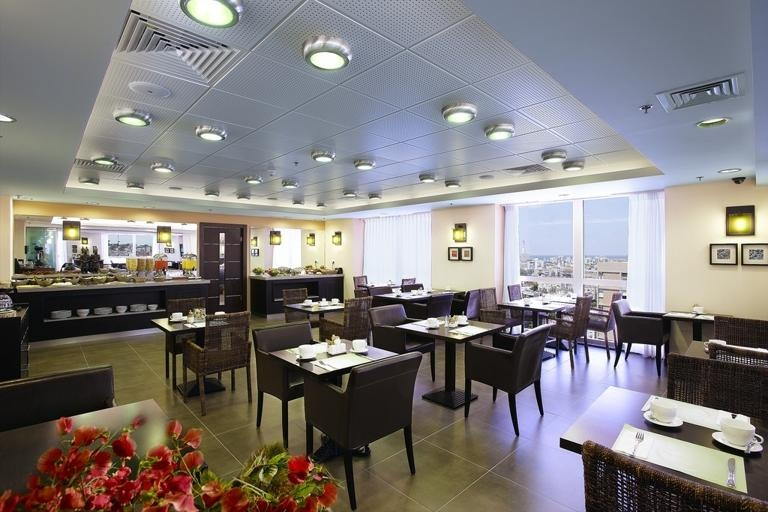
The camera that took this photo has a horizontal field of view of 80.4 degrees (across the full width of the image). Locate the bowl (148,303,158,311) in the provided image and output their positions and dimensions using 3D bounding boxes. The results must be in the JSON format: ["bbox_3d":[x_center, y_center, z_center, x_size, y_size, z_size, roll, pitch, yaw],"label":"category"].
[{"bbox_3d":[-4.574,1.000,8.950,0.138,0.091,0.134,1,-2,0],"label":"bowl"}]

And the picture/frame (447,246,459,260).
[{"bbox_3d":[1.630,-0.066,10.637,0.278,0.261,0.272,1,4,14],"label":"picture/frame"}]

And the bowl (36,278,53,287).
[{"bbox_3d":[-5.950,0.455,7.946,0.199,0.158,0.386,-2,0,-38],"label":"bowl"}]

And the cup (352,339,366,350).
[{"bbox_3d":[-0.262,0.961,4.952,0.136,0.088,0.106,7,-9,-42],"label":"cup"}]

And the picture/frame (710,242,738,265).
[{"bbox_3d":[5.185,-0.052,6.906,0.026,0.339,0.349,1,0,-38],"label":"picture/frame"}]

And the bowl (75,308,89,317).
[{"bbox_3d":[-5.422,1.006,8.141,0.153,0.112,0.168,2,-4,0],"label":"bowl"}]

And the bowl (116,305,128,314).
[{"bbox_3d":[-4.999,0.996,8.607,0.162,0.102,0.148,1,-7,0],"label":"bowl"}]

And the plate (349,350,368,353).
[{"bbox_3d":[-0.272,1.016,4.860,0.220,0.025,0.106,-2,0,16],"label":"plate"}]

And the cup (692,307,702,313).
[{"bbox_3d":[4.841,0.816,7.000,0.105,0.068,0.105,0,1,0],"label":"cup"}]

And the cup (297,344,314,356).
[{"bbox_3d":[-0.827,0.968,4.713,0.129,0.088,0.127,0,-4,0],"label":"cup"}]

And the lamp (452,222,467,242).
[{"bbox_3d":[1.756,-0.564,10.495,0.281,0.523,0.460,-2,-1,-31],"label":"lamp"}]

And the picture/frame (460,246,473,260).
[{"bbox_3d":[1.891,-0.082,10.391,0.037,0.267,0.319,3,-3,-38],"label":"picture/frame"}]

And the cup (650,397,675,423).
[{"bbox_3d":[2.149,1.184,3.536,0.139,0.116,0.176,-3,-4,-1],"label":"cup"}]
